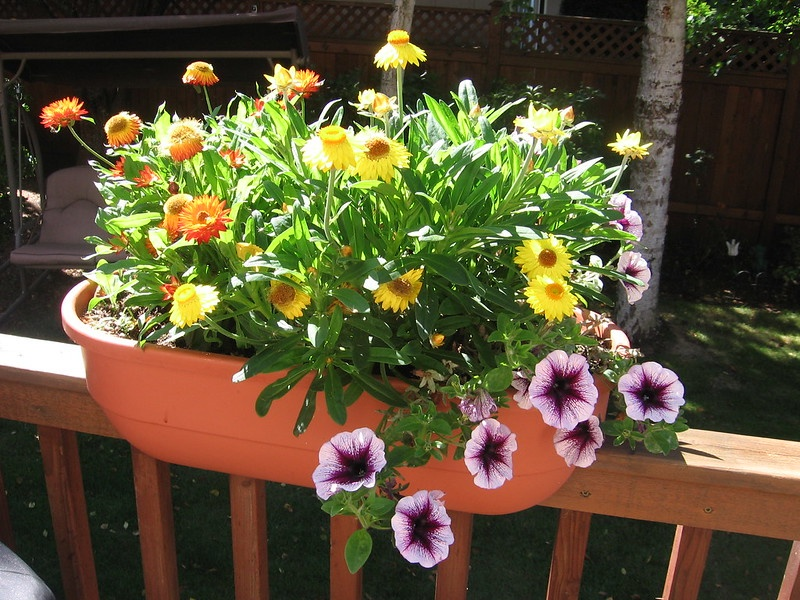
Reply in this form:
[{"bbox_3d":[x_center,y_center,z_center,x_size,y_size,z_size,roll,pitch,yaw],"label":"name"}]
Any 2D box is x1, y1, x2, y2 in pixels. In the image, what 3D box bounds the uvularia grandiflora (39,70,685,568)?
[{"bbox_3d":[-0.068,0.068,1.231,1.183,0.966,0.643,9,19,19],"label":"uvularia grandiflora"}]
